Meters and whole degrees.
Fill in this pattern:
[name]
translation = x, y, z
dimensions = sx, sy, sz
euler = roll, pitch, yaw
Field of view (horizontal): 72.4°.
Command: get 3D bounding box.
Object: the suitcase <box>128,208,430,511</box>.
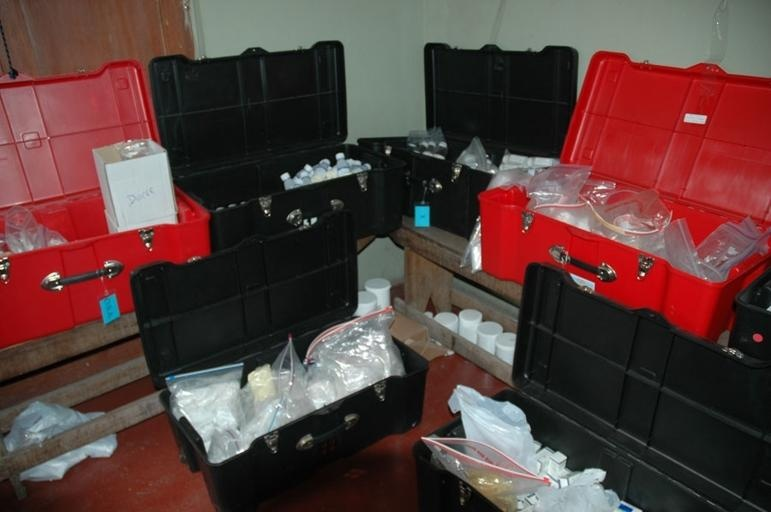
[suitcase]
translation = -0.373, 0.390, 2.071
dimensions = 0.954, 0.917, 0.589
euler = -18, 31, -32
